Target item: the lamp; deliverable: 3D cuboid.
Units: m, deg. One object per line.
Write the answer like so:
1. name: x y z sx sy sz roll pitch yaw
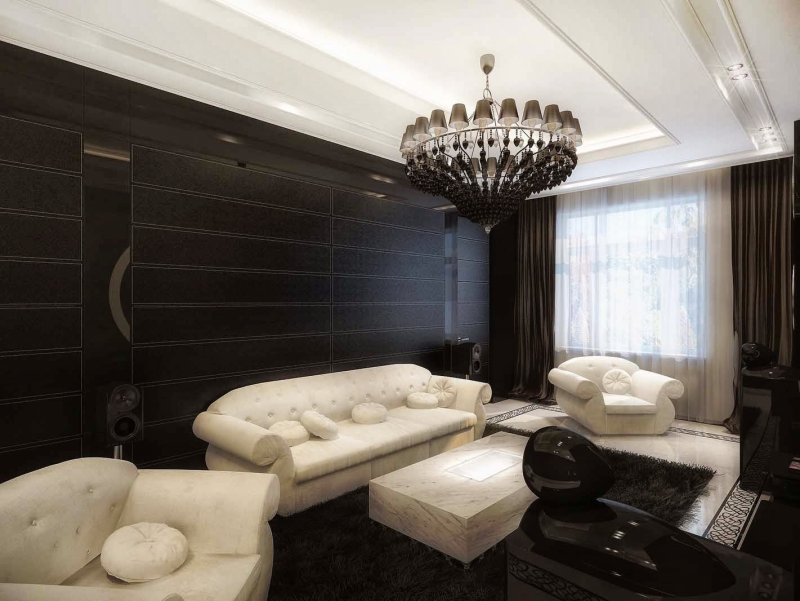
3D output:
1. lamp: 0.666 -1.039 3.972 1.243 1.234 1.217 6 -9 -42

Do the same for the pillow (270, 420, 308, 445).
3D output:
1. pillow: -0.865 1.041 4.062 0.201 0.067 0.212 3 -1 24

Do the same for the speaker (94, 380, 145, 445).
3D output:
1. speaker: -1.925 0.773 3.493 0.266 0.386 0.107 -2 4 -26

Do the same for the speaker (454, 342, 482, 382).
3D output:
1. speaker: 0.814 0.727 6.165 0.408 0.568 0.386 -3 -4 28

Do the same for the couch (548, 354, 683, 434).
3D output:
1. couch: 2.320 1.023 5.431 0.937 0.637 0.944 0 -10 5
